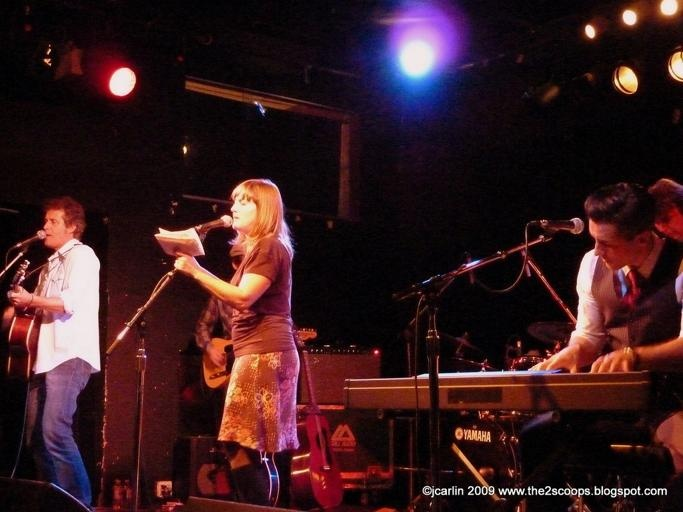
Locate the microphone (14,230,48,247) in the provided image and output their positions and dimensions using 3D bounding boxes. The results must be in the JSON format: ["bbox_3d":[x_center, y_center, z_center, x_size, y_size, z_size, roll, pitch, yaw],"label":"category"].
[{"bbox_3d":[-2.466,-0.137,5.543,0.302,0.074,0.081,-19,7,-27],"label":"microphone"}]

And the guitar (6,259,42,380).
[{"bbox_3d":[-2.315,0.436,5.110,0.198,0.914,0.319,4,-16,-24],"label":"guitar"}]

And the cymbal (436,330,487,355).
[{"bbox_3d":[1.048,0.707,6.086,0.321,0.111,0.310,22,-5,10],"label":"cymbal"}]

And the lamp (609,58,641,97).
[{"bbox_3d":[2.302,-1.432,5.672,0.179,0.227,0.234,-15,6,-22],"label":"lamp"}]

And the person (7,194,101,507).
[{"bbox_3d":[-2.062,0.611,5.054,0.564,2.272,0.559,0,-15,-7],"label":"person"}]

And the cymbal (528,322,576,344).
[{"bbox_3d":[1.619,0.578,5.392,0.213,0.026,0.204,19,-24,-23],"label":"cymbal"}]

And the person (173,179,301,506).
[{"bbox_3d":[-0.479,0.399,3.746,0.424,1.783,0.612,-11,-17,29],"label":"person"}]

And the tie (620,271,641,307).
[{"bbox_3d":[1.395,0.157,3.370,0.036,0.145,0.084,-6,-4,-1],"label":"tie"}]

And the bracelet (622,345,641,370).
[{"bbox_3d":[1.215,0.428,2.936,0.064,0.096,0.051,-4,-15,7],"label":"bracelet"}]

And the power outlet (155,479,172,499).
[{"bbox_3d":[-1.505,1.972,5.990,0.159,0.146,0.156,1,-2,-11],"label":"power outlet"}]
